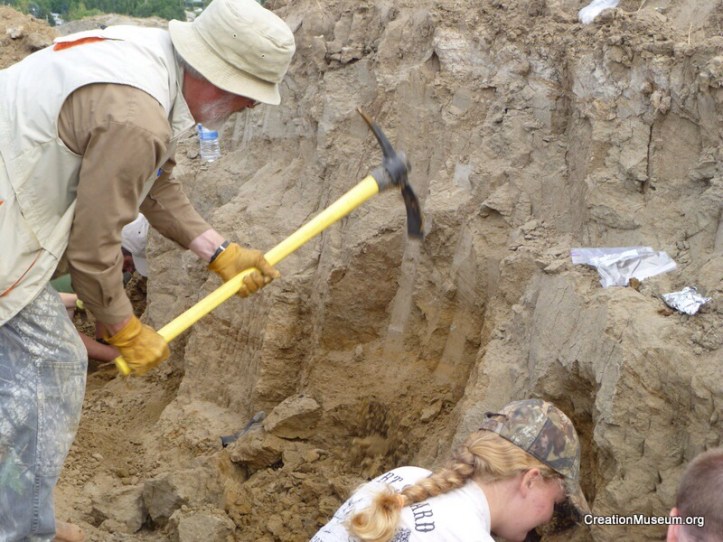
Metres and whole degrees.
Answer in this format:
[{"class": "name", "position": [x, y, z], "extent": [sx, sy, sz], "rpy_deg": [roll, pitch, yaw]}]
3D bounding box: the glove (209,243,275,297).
[{"class": "glove", "position": [-0.724, 0.003, 6.927], "extent": [0.327, 0.216, 0.450], "rpy_deg": [15, -23, -9]}]

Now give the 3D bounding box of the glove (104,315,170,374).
[{"class": "glove", "position": [-1.173, 0.378, 6.331], "extent": [0.289, 0.288, 0.126], "rpy_deg": [-48, 11, -27]}]

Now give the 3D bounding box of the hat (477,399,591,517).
[{"class": "hat", "position": [0.904, 0.854, 5.911], "extent": [0.631, 0.368, 0.468], "rpy_deg": [26, -9, 12]}]
